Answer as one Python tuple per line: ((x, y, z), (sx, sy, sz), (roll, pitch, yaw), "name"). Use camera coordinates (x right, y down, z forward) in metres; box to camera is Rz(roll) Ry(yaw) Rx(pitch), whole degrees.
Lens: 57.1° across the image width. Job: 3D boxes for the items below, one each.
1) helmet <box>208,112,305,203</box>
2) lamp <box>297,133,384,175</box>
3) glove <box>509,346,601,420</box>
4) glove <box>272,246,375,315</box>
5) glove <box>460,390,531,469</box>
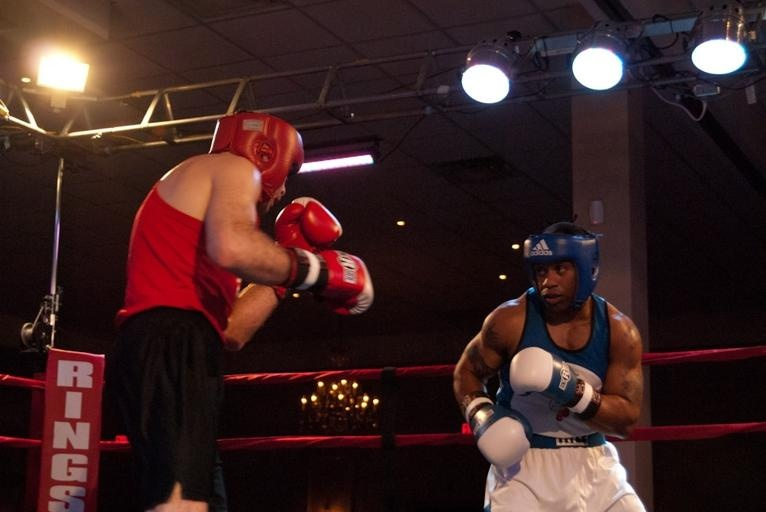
((-0.529, -0.436, 3.152), (0.415, 0.366, 0.363), (9, -15, -9), "helmet")
((-0.439, -1.109, 7.510), (1.437, 0.313, 0.231), (-3, -44, 8), "lamp")
((0.767, 0.550, 3.135), (0.419, 0.258, 0.159), (22, -50, -20), "glove")
((-0.242, 0.130, 3.027), (0.394, 0.230, 0.144), (18, -54, -30), "glove")
((0.501, 0.787, 3.218), (0.219, 0.336, 0.130), (-18, -55, -16), "glove")
